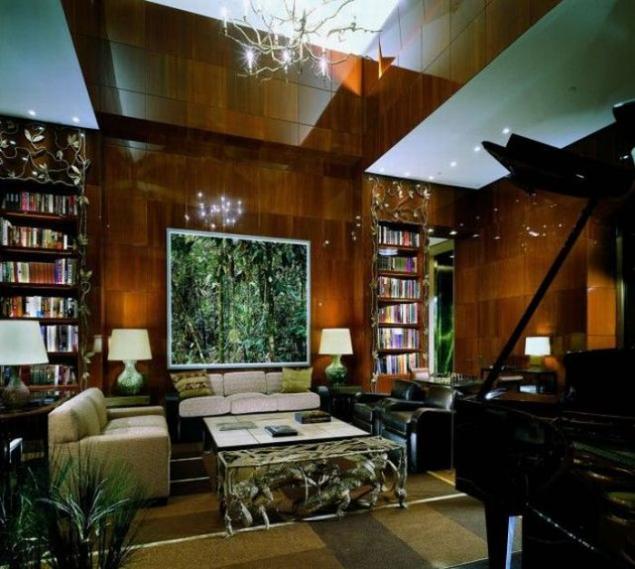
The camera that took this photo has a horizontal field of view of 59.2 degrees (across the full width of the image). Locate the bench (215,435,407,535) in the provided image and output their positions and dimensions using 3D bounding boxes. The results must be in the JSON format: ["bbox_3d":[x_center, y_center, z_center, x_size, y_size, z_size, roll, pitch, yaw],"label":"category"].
[{"bbox_3d":[-0.062,1.566,4.773,1.581,0.637,0.905,-3,8,-19],"label":"bench"}]

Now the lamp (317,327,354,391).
[{"bbox_3d":[0.306,0.961,7.517,0.544,1.044,0.624,0,-5,-6],"label":"lamp"}]

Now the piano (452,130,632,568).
[{"bbox_3d":[1.506,0.349,3.796,1.356,2.681,0.767,-6,9,-39],"label":"piano"}]

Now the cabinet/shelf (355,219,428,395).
[{"bbox_3d":[1.131,0.231,8.167,1.097,2.329,0.628,-4,8,-25],"label":"cabinet/shelf"}]

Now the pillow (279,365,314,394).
[{"bbox_3d":[-0.276,1.192,7.361,0.430,0.264,0.404,4,29,0],"label":"pillow"}]

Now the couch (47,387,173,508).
[{"bbox_3d":[-1.519,1.178,4.092,0.472,0.486,1.091,0,-2,-16],"label":"couch"}]

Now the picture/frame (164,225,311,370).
[{"bbox_3d":[-1.143,0.209,7.467,1.572,1.834,0.069,1,-3,-24],"label":"picture/frame"}]

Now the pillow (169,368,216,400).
[{"bbox_3d":[-1.501,1.240,6.829,0.508,0.298,0.446,-4,9,-22],"label":"pillow"}]
